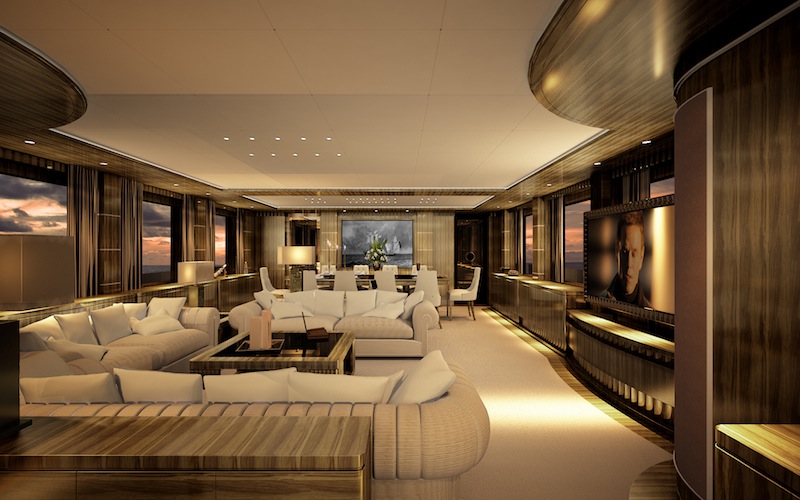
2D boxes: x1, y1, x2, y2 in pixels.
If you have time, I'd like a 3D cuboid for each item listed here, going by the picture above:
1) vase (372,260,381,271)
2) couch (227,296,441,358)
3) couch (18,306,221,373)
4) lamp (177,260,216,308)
[{"bbox_3d":[-0.532,0.334,10.926,0.194,0.225,0.200,2,-5,8],"label":"vase"},{"bbox_3d":[-0.917,1.188,7.395,3.101,1.130,1.093,-1,-10,5],"label":"couch"},{"bbox_3d":[-3.341,1.104,6.025,0.848,0.702,1.951,14,9,27],"label":"couch"},{"bbox_3d":[-3.725,0.619,8.736,0.557,0.835,0.967,0,1,-26],"label":"lamp"}]
